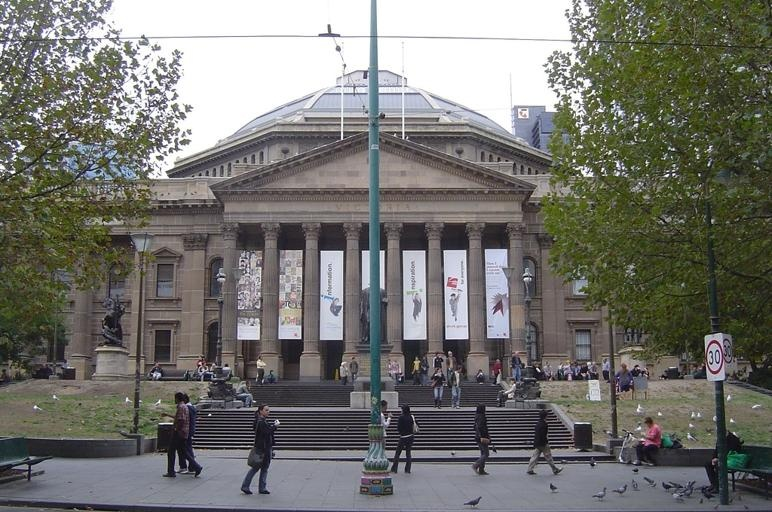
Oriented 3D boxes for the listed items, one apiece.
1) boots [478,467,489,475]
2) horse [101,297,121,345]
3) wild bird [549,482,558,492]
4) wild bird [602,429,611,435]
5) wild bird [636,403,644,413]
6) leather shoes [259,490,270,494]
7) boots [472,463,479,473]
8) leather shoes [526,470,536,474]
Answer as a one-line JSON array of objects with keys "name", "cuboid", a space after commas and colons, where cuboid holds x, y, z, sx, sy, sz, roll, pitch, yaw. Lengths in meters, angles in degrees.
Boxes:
[{"name": "boots", "cuboid": [3.409, 7.608, 31.371, 0.303, 0.251, 0.827, -3, -12, 11]}, {"name": "horse", "cuboid": [-16.529, 3.849, 53.314, 1.098, 2.808, 2.844, 3, -13, -17]}, {"name": "wild bird", "cuboid": [5.193, 7.275, 27.930, 0.166, 0.236, 0.396, 13, -11, -30]}, {"name": "wild bird", "cuboid": [9.969, 7.952, 40.285, 0.382, 0.180, 0.518, 4, -5, -7]}, {"name": "wild bird", "cuboid": [12.304, 7.360, 43.335, 0.387, 0.285, 0.540, 4, -25, 29]}, {"name": "leather shoes", "cuboid": [-3.733, 7.175, 26.998, 0.326, 0.125, 0.114, 1, -3, -2]}, {"name": "boots", "cuboid": [3.132, 7.453, 31.186, 0.237, 0.347, 0.606, -1, -12, 5]}, {"name": "leather shoes", "cuboid": [5.128, 7.625, 31.357, 0.181, 0.134, 0.384, -8, -14, 32]}]
